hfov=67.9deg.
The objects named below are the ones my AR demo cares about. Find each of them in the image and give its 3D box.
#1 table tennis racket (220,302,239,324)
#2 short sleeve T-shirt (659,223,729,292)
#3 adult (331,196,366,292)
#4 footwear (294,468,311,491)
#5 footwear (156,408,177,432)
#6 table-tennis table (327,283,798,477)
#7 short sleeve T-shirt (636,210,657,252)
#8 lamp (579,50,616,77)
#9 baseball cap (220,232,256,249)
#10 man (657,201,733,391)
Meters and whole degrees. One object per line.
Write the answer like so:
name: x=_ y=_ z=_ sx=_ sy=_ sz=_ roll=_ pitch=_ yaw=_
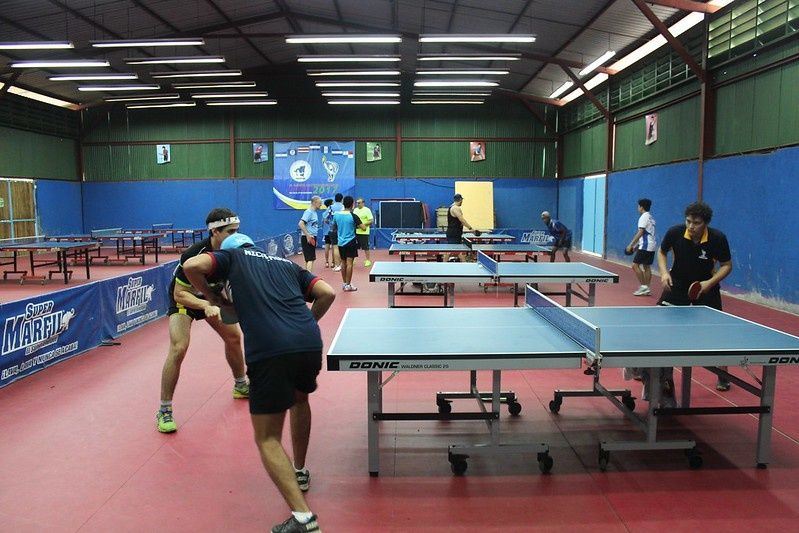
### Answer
table tennis racket: x=-1.654 y=0.424 z=5.775 sx=0.168 sy=0.263 sz=0.062 roll=-11 pitch=39 yaw=8
short sleeve T-shirt: x=3.630 y=-0.111 z=7.326 sx=0.827 sy=0.856 sz=0.465 roll=13 pitch=31 yaw=34
adult: x=-1.133 y=-0.502 z=12.902 sx=0.675 sy=2.015 sz=0.619 roll=1 pitch=1 yaw=6
footwear: x=-0.930 y=2.069 z=5.713 sx=0.108 sy=0.122 sz=0.263 roll=1 pitch=-4 yaw=-2
footwear: x=-2.578 y=1.688 z=6.573 sx=0.196 sy=0.239 sz=0.295 roll=-4 pitch=11 yaw=-23
table-tennis table: x=1.638 y=1.215 z=6.344 sx=4.455 sy=1.603 sz=1.264 roll=0 pitch=10 yaw=-2
short sleeve T-shirt: x=4.984 y=-0.722 z=11.970 sx=0.360 sy=0.784 sz=0.356 roll=2 pitch=10 yaw=10
lamp: x=5.145 y=-5.373 z=15.493 sx=0.079 sy=0.223 sz=1.318 roll=-47 pitch=9 yaw=-12
baseball cap: x=-1.647 y=-0.262 z=5.993 sx=0.303 sy=0.164 sz=0.220 roll=3 pitch=-7 yaw=2
man: x=3.628 y=0.324 z=7.354 sx=0.899 sy=2.262 sz=0.768 roll=1 pitch=15 yaw=25
